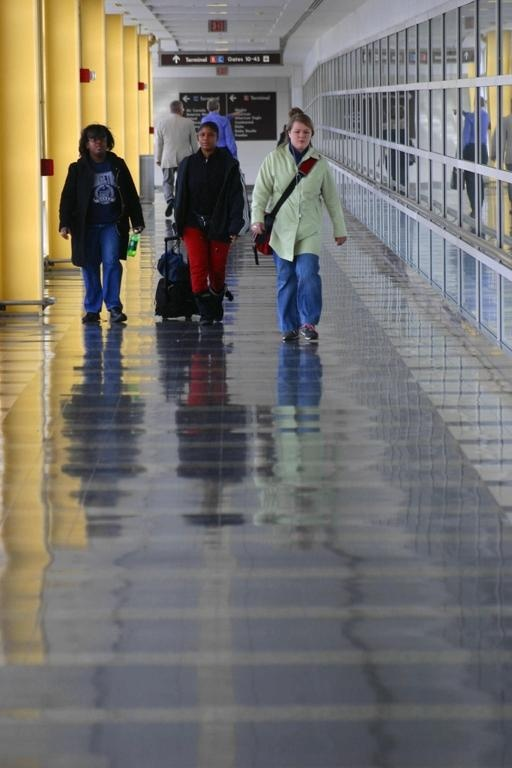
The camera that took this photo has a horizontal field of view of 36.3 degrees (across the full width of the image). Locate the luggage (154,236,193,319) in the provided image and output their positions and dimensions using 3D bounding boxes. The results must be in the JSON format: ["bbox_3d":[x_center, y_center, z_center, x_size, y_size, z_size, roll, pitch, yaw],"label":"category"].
[{"bbox_3d":[-0.763,-1.007,7.185,0.369,0.673,0.435,-8,7,0],"label":"luggage"}]

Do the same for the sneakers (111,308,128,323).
[{"bbox_3d":[-1.232,-0.601,6.991,0.078,0.096,0.167,-2,-1,-24],"label":"sneakers"}]

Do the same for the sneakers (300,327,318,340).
[{"bbox_3d":[0.411,-0.395,6.163,0.061,0.076,0.181,5,2,-13],"label":"sneakers"}]

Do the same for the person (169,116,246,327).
[{"bbox_3d":[-0.415,-1.353,6.663,0.560,1.674,0.661,0,6,-6],"label":"person"}]

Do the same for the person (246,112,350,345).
[{"bbox_3d":[0.316,-1.103,5.986,0.666,1.560,0.449,1,6,8],"label":"person"}]

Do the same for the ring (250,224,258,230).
[{"bbox_3d":[-0.022,-1.195,5.914,0.044,0.036,0.058,-4,-27,-4],"label":"ring"}]

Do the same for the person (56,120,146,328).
[{"bbox_3d":[-1.330,-1.354,6.756,0.671,1.665,0.698,0,6,-9],"label":"person"}]
